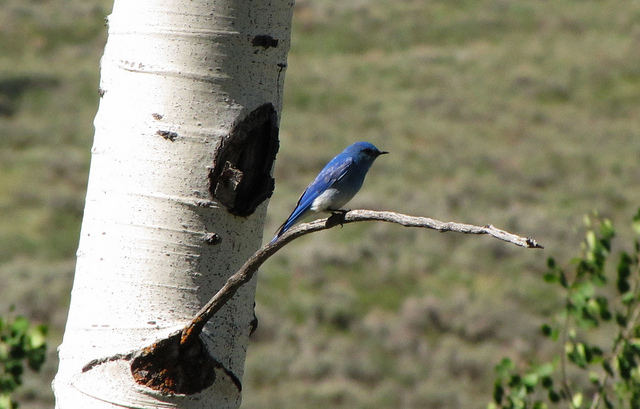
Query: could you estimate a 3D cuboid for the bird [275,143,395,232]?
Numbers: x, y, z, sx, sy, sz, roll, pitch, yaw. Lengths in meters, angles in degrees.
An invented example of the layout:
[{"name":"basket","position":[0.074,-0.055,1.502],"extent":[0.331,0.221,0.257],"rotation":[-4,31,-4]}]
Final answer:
[{"name":"bird","position":[0.203,-0.222,18.845],"extent":[0.563,0.735,1.743],"rotation":[40,59,9]}]
